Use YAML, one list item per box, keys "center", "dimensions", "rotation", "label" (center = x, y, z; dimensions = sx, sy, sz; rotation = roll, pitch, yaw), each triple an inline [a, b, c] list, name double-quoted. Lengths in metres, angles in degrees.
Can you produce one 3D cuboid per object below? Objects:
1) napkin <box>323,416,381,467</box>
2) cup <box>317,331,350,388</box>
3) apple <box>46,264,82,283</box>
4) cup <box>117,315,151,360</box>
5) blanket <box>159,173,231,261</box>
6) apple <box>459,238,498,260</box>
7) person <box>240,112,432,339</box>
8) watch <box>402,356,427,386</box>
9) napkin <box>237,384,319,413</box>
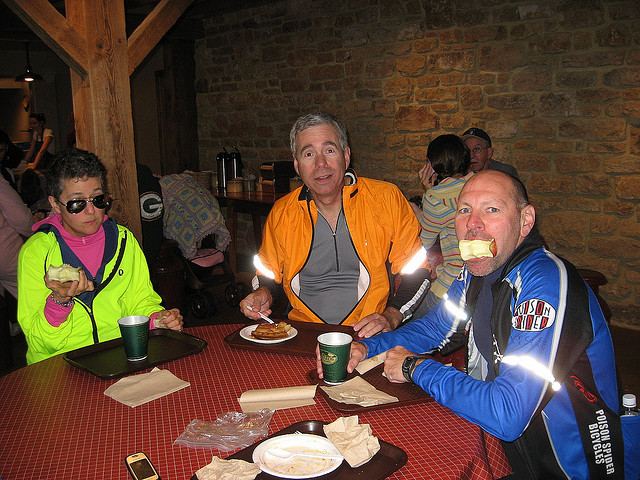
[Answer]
- center: [0.092, 0.559, 1.208]
  dimensions: [0.094, 0.047, 0.123]
  rotation: [-6, 25, -26]
  label: "napkin"
- center: [0.053, 0.425, 1.546]
  dimensions: [0.163, 0.179, 0.157]
  rotation: [-2, 0, 0]
  label: "cup"
- center: [-1.108, 0.148, 1.842]
  dimensions: [0.126, 0.079, 0.062]
  rotation: [-6, 11, -25]
  label: "apple"
- center: [-0.727, 0.380, 1.696]
  dimensions: [0.159, 0.170, 0.161]
  rotation: [0, 1, 0]
  label: "cup"
- center: [-1.412, -0.356, 4.687]
  dimensions: [0.653, 0.314, 0.999]
  rotation: [-15, 59, -35]
  label: "blanket"
- center: [0.573, 0.035, 1.542]
  dimensions: [0.132, 0.083, 0.048]
  rotation: [2, 11, 23]
  label: "apple"
- center: [0.101, -0.013, 2.492]
  dimensions: [1.070, 1.416, 0.740]
  rotation: [2, 24, 16]
  label: "person"
- center: [0.330, 0.451, 1.505]
  dimensions: [0.113, 0.107, 0.075]
  rotation: [-11, -10, 18]
  label: "watch"
- center: [-0.151, 0.537, 1.427]
  dimensions: [0.152, 0.037, 0.101]
  rotation: [-4, 14, -8]
  label: "napkin"
